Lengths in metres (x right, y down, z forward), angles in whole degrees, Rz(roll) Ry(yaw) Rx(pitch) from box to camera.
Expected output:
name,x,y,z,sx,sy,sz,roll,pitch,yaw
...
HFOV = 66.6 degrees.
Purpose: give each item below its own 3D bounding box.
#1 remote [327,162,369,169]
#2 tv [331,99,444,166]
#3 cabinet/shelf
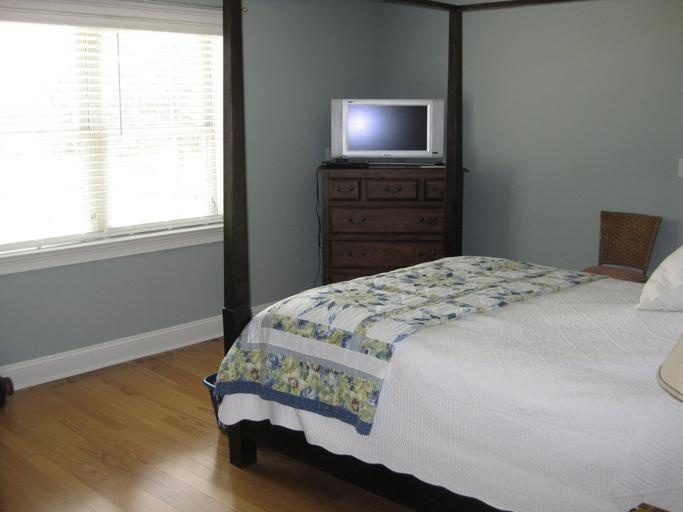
name,x,y,z,sx,sy,sz,roll,pitch,yaw
remote,0.039,-0.783,4.515,0.369,0.055,0.101,1,13,3
tv,0.410,-1.129,4.633,1.017,0.512,0.173,0,13,0
cabinet/shelf,0.412,-0.296,4.277,0.962,0.944,0.376,-2,9,-2
